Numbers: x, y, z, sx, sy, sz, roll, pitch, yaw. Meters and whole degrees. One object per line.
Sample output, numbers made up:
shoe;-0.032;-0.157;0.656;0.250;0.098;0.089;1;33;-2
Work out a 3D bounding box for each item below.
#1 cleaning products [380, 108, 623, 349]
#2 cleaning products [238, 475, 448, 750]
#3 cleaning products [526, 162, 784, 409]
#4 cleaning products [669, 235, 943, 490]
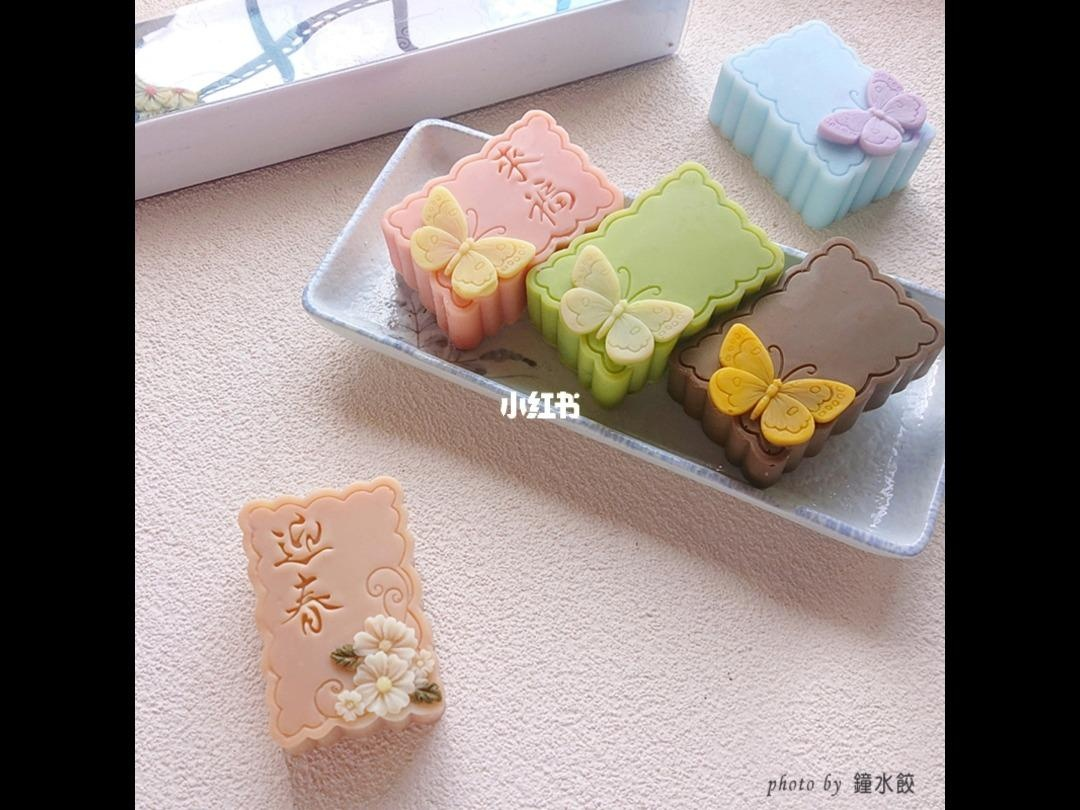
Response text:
cleaning products;-0.039;-0.294;1.485;0.362;0.130;0.275;-38;74;-11
cleaning products;-0.270;0.270;1.299;0.234;0.109;0.344;-9;72;-10
cleaning products;0.170;-0.155;1.491;0.383;0.128;0.254;-37;73;-11
cleaning products;0.387;-0.069;1.418;0.364;0.125;0.234;-33;72;-11
